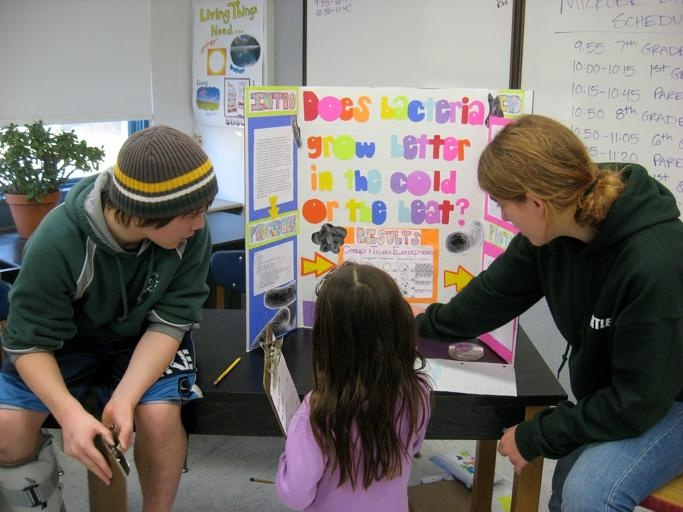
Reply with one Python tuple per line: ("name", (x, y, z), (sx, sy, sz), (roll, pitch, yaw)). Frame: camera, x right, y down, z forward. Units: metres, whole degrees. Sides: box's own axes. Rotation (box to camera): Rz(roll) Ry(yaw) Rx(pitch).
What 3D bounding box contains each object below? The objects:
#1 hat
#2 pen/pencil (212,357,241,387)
("hat", (-0.530, -0.276, 1.572), (0.252, 0.203, 0.292), (-1, 39, -7))
("pen/pencil", (-0.382, 0.385, 1.763), (0.024, 0.024, 0.186), (15, 30, 17))
